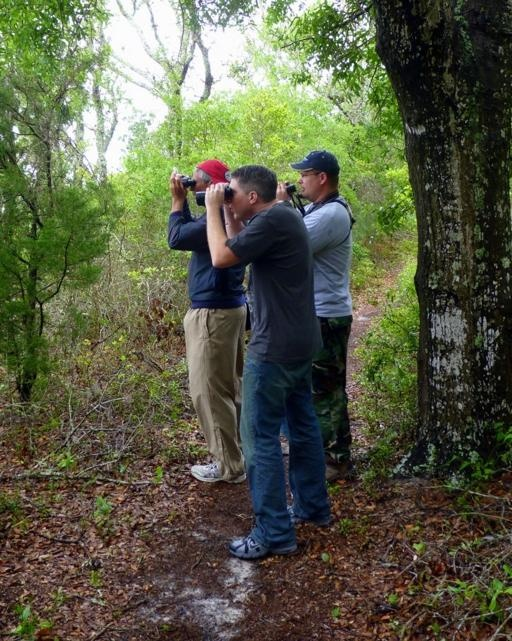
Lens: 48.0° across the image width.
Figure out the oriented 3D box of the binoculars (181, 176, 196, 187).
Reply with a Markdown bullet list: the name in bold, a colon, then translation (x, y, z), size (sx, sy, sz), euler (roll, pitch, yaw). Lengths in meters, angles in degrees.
- **binoculars**: translation (-0.472, -0.958, 3.952), size (0.082, 0.033, 0.080), euler (-8, 6, -4)

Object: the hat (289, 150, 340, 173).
- **hat**: translation (0.409, -1.113, 3.904), size (0.268, 0.140, 0.165), euler (5, 27, 5)

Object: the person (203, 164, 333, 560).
- **person**: translation (0.073, 0.231, 3.238), size (0.581, 1.478, 0.737), euler (-5, -3, 18)

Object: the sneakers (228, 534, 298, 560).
- **sneakers**: translation (0.049, 1.265, 3.291), size (0.392, 0.168, 0.142), euler (1, -5, 4)
